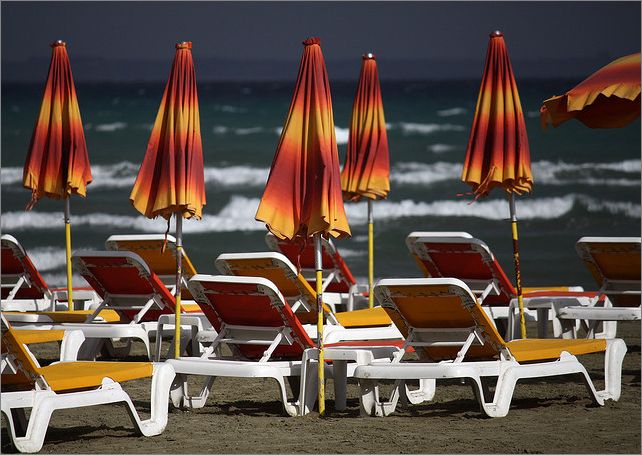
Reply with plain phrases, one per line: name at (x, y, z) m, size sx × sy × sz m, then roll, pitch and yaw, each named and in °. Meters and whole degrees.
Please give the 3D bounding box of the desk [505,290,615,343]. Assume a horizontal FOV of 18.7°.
desk at (5.729, 2.280, 46.624) m, size 1.922 × 1.409 × 1.764 m, roll 1°, pitch 7°, yaw 29°

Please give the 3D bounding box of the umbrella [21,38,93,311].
umbrella at (-6.397, -2.387, 47.371) m, size 1.507 × 4.531 × 0.904 m, roll 0°, pitch 7°, yaw -2°

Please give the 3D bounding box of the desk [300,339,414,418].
desk at (0.806, 3.476, 45.024) m, size 2.152 × 1.649 × 2.232 m, roll -4°, pitch 3°, yaw -42°

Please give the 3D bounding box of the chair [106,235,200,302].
chair at (-3.989, 0.925, 47.064) m, size 1.539 × 1.607 × 1.648 m, roll 1°, pitch 2°, yaw 33°
